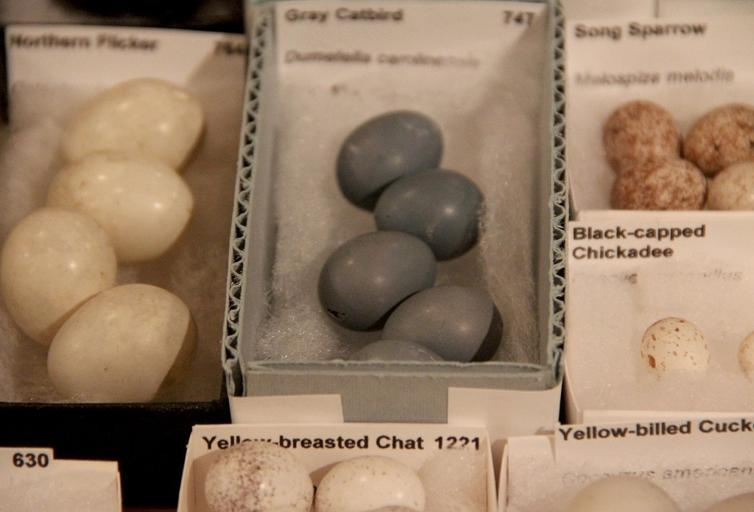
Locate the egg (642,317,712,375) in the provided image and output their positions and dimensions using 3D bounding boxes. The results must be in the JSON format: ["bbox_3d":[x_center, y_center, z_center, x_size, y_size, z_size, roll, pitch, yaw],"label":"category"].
[{"bbox_3d":[0.353,0.106,1.032,0.073,0.036,0.065,-3,72,-4],"label":"egg"}]
